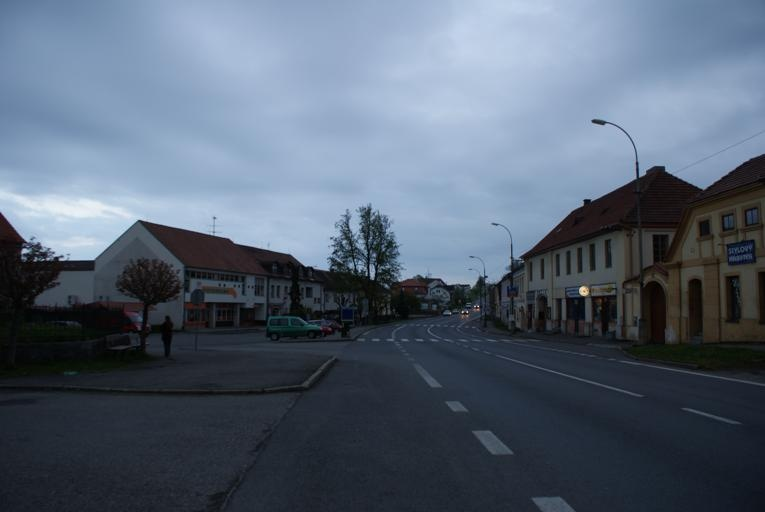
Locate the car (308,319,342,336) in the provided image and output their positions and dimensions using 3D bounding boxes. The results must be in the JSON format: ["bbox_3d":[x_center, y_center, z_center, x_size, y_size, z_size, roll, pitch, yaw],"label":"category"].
[{"bbox_3d":[-5.016,6.092,50.898,1.561,1.143,3.104,-1,-14,-1],"label":"car"}]

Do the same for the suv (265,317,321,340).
[{"bbox_3d":[-6.721,5.365,43.586,3.149,1.515,1.930,-2,-5,-6],"label":"suv"}]
